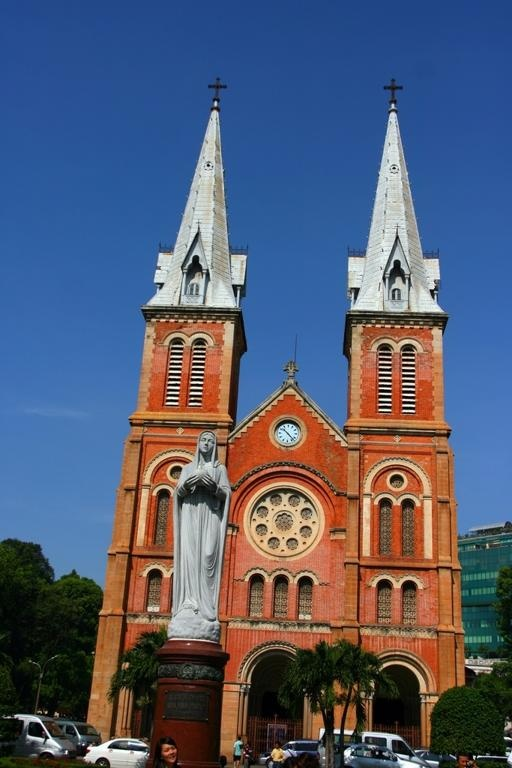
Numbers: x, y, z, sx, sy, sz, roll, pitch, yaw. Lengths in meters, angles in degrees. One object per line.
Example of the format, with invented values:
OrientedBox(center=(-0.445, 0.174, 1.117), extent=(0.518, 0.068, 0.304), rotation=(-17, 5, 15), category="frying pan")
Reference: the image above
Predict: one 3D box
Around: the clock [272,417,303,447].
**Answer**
OrientedBox(center=(1.395, 2.139, 41.154), extent=(1.437, 1.444, 0.108), rotation=(-2, -33, 9), category="clock")

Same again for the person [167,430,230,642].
OrientedBox(center=(-1.032, 2.677, 16.928), extent=(1.012, 3.889, 0.875), rotation=(4, -22, -3), category="person")
